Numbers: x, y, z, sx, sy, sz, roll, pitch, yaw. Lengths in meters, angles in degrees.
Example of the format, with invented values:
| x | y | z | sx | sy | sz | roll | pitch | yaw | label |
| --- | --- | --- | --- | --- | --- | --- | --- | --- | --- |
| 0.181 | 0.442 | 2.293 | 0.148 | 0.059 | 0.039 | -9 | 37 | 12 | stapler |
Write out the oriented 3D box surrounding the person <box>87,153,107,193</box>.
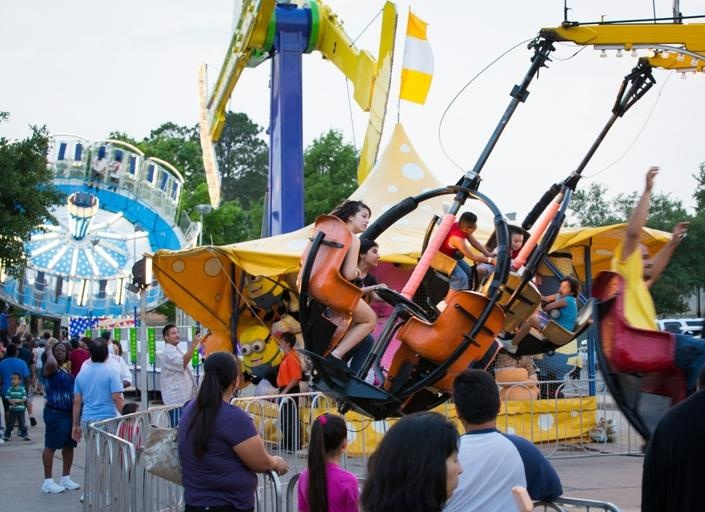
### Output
| x | y | z | sx | sy | sz | roll | pitch | yaw | label |
| --- | --- | --- | --- | --- | --- | --- | --- | --- | --- |
| -12.981 | -4.312 | 43.945 | 0.745 | 1.682 | 0.733 | 8 | -8 | -34 | person |

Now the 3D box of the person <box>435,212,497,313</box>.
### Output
| x | y | z | sx | sy | sz | roll | pitch | yaw | label |
| --- | --- | --- | --- | --- | --- | --- | --- | --- | --- |
| 1.460 | 0.077 | 11.327 | 0.830 | 1.298 | 0.544 | 10 | 24 | 0 | person |

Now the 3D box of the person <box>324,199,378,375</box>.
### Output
| x | y | z | sx | sy | sz | roll | pitch | yaw | label |
| --- | --- | --- | --- | --- | --- | --- | --- | --- | --- |
| -0.013 | 0.293 | 9.458 | 0.444 | 1.869 | 0.662 | 0 | -7 | 28 | person |

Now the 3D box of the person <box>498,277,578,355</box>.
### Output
| x | y | z | sx | sy | sz | roll | pitch | yaw | label |
| --- | --- | --- | --- | --- | --- | --- | --- | --- | --- |
| 2.987 | 0.935 | 13.581 | 1.138 | 1.394 | 0.723 | 12 | 22 | -2 | person |

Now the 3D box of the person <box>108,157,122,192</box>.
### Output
| x | y | z | sx | sy | sz | roll | pitch | yaw | label |
| --- | --- | --- | --- | --- | --- | --- | --- | --- | --- |
| -12.210 | -4.271 | 44.481 | 0.570 | 1.515 | 1.029 | 5 | -7 | -16 | person |

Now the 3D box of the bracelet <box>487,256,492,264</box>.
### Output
| x | y | z | sx | sy | sz | roll | pitch | yaw | label |
| --- | --- | --- | --- | --- | --- | --- | --- | --- | --- |
| 1.748 | 0.067 | 11.025 | 0.066 | 0.062 | 0.067 | 6 | -3 | 13 | bracelet |

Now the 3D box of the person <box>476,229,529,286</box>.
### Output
| x | y | z | sx | sy | sz | roll | pitch | yaw | label |
| --- | --- | --- | --- | --- | --- | --- | --- | --- | --- |
| 2.023 | 0.017 | 12.018 | 0.791 | 0.436 | 0.802 | -3 | 2 | 13 | person |

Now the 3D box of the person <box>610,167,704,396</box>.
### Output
| x | y | z | sx | sy | sz | roll | pitch | yaw | label |
| --- | --- | --- | --- | --- | --- | --- | --- | --- | --- |
| 2.660 | 0.178 | 7.517 | 0.808 | 2.036 | 0.891 | 4 | -7 | -6 | person |

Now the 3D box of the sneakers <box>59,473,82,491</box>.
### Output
| x | y | z | sx | sy | sz | roll | pitch | yaw | label |
| --- | --- | --- | --- | --- | --- | --- | --- | --- | --- |
| -4.001 | 3.276 | 12.370 | 0.423 | 0.205 | 0.149 | 4 | 0 | -29 | sneakers |
